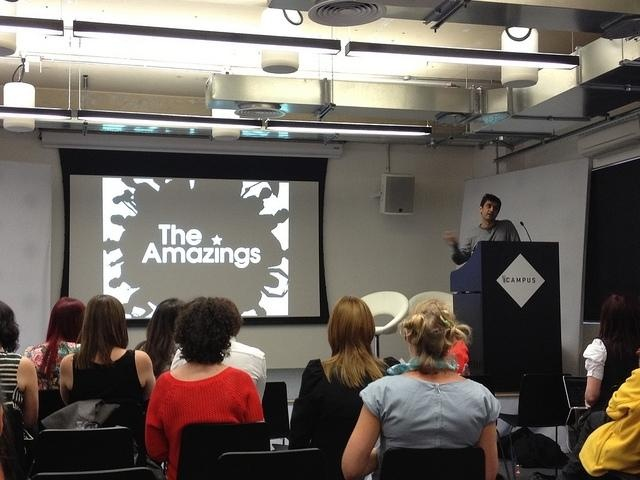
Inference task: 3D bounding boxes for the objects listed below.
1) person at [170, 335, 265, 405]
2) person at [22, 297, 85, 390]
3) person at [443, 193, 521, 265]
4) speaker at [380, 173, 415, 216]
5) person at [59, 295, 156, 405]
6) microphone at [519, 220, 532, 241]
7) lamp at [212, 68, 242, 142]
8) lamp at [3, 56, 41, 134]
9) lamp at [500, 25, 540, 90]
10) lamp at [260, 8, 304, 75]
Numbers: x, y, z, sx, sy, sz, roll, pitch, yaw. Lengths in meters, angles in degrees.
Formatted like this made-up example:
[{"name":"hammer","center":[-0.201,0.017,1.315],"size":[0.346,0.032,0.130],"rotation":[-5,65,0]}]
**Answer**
[{"name":"person","center":[-0.741,0.906,5.096],"size":[0.731,0.787,0.423],"rotation":[2,-12,-7]},{"name":"person","center":[-2.221,0.908,5.668],"size":[0.413,0.931,0.259],"rotation":[14,23,-11]},{"name":"person","center":[2.194,-0.143,9.202],"size":[0.667,1.303,0.487],"rotation":[-14,-45,18]},{"name":"speaker","center":[1.182,-0.714,10.654],"size":[0.579,0.739,0.241],"rotation":[1,-4,-19]},{"name":"person","center":[-1.659,0.967,5.375],"size":[0.676,1.088,0.624],"rotation":[-3,-4,-6]},{"name":"microphone","center":[2.804,-0.131,9.357],"size":[0.054,0.282,0.218],"rotation":[3,-6,-20]},{"name":"lamp","center":[-1.209,-1.733,8.817],"size":[0.356,0.763,1.457],"rotation":[2,-7,-10]},{"name":"lamp","center":[-3.478,-1.742,7.952],"size":[0.315,0.875,1.235],"rotation":[3,-7,-23]},{"name":"lamp","center":[1.984,-1.883,6.846],"size":[0.346,0.533,0.707],"rotation":[-1,-7,17]},{"name":"lamp","center":[-0.380,-1.998,6.687],"size":[0.386,0.681,1.123],"rotation":[1,-6,-3]}]
